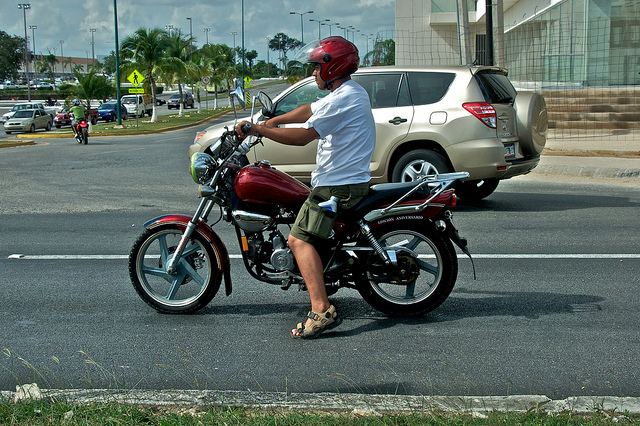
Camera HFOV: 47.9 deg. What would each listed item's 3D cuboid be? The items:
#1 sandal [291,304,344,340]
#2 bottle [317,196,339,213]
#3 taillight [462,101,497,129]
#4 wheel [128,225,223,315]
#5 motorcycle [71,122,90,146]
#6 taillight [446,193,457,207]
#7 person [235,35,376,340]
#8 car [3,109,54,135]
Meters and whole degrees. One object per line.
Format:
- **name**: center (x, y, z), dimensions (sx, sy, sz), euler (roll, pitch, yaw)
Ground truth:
- **sandal**: center (-0.057, 1.048, 7.020), dimensions (0.549, 0.247, 0.229), euler (-20, 23, -14)
- **bottle**: center (0.069, -0.083, 6.823), dimensions (0.183, 0.105, 0.077), euler (-3, 42, 4)
- **taillight**: center (2.525, -1.545, 11.347), dimensions (0.464, 0.222, 0.377), euler (10, 9, 14)
- **wheel**: center (-1.527, 0.575, 7.497), dimensions (1.037, 1.013, 0.177), euler (-3, 1, 13)
- **motorcycle**: center (-9.753, -3.261, 29.283), dimensions (0.434, 0.871, 0.793), euler (-5, 14, -18)
- **taillight**: center (1.311, -0.125, 7.163), dimensions (0.105, 0.092, 0.174), euler (1, 15, 12)
- **person**: center (-0.008, -0.237, 6.945), dimensions (1.086, 2.847, 0.625), euler (-2, 14, -7)
- **car**: center (-16.426, -5.172, 40.267), dimensions (1.151, 0.794, 2.522), euler (0, 4, 8)
